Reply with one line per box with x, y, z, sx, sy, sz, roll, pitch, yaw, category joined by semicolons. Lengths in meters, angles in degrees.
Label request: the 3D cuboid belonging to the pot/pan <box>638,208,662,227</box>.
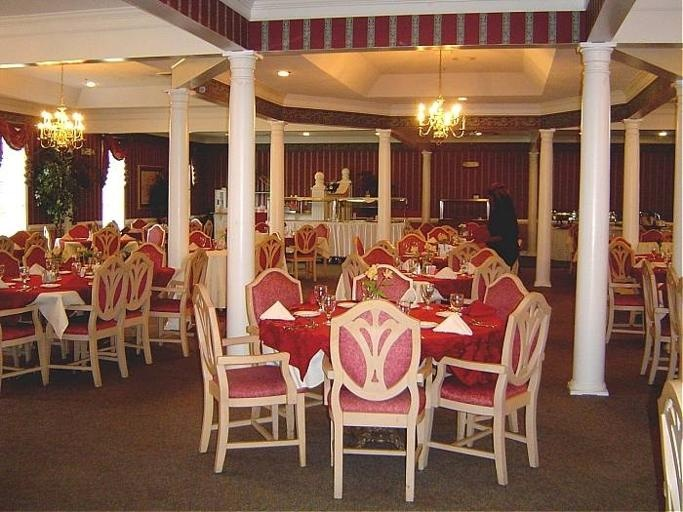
9.147;-1.121;16.565;0.669;0.355;0.949;2;17;11;pot/pan

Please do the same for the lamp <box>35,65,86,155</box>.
-5.499;-2.908;10.911;0.775;1.745;0.751;3;9;-4;lamp

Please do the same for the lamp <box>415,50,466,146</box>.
1.608;-2.702;9.119;0.704;1.686;0.703;0;5;-3;lamp
